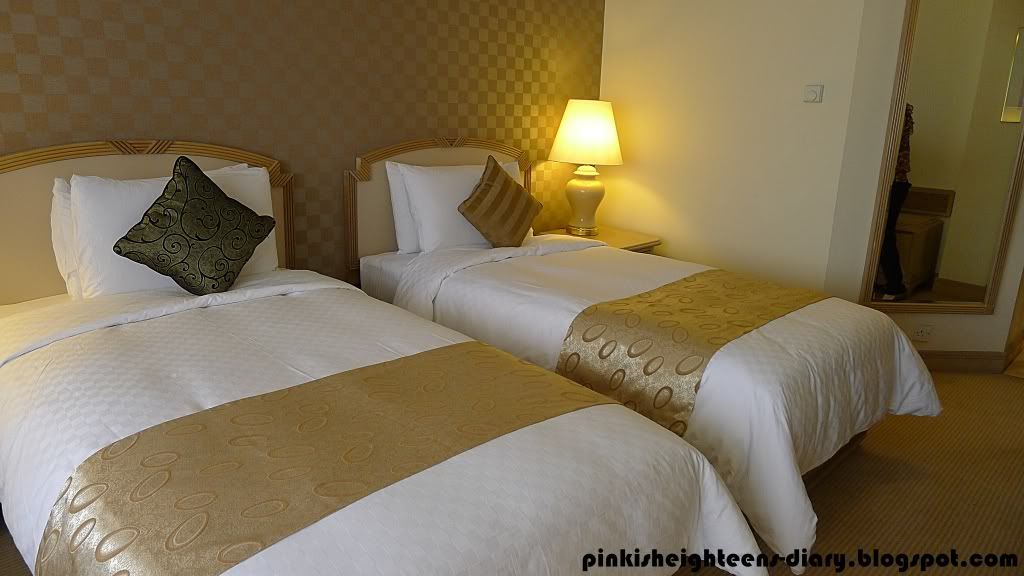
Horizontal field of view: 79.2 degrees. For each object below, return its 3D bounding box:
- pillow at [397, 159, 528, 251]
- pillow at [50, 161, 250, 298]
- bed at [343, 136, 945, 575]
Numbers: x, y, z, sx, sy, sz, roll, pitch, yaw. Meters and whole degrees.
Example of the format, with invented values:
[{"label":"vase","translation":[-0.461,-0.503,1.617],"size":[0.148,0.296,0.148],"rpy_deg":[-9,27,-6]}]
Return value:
[{"label":"pillow","translation":[-0.540,-0.632,4.835],"size":[0.828,0.635,0.212],"rpy_deg":[-8,-2,-30]},{"label":"pillow","translation":[-2.218,-0.322,3.762],"size":[0.785,0.725,0.224],"rpy_deg":[-11,18,-36]},{"label":"bed","translation":[0.330,0.099,4.696],"size":[2.544,1.714,3.967],"rpy_deg":[-19,31,-40]}]
